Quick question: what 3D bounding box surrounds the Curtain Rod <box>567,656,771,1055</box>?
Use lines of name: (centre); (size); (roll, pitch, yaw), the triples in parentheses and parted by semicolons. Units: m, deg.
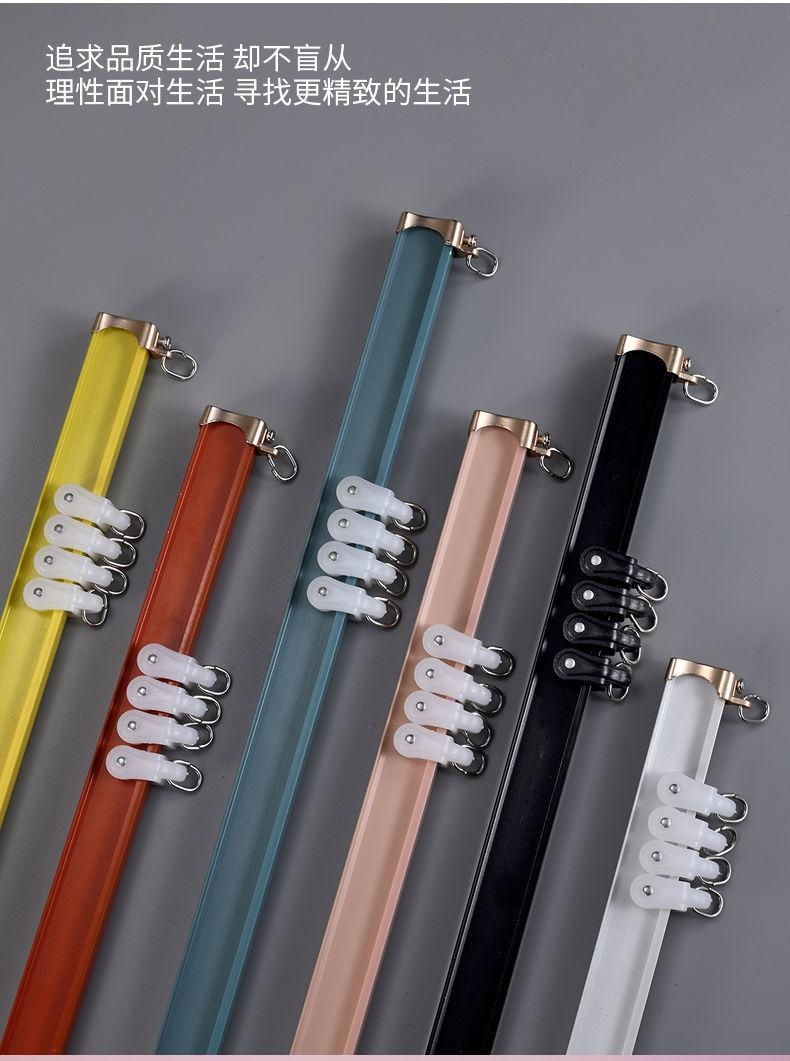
Curtain Rod: (0.471, 0.559, 2.131); (0.246, 0.797, 0.177); (16, -10, 17)
